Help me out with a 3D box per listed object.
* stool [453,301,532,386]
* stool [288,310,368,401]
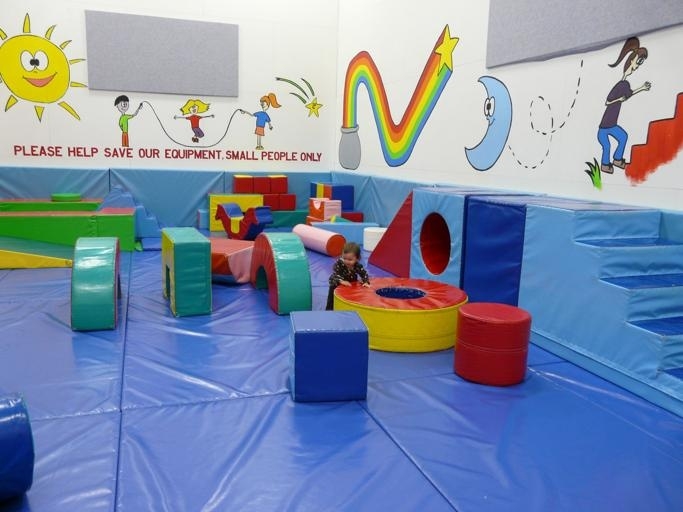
[{"bbox_3d":[1.002,0.538,3.683,0.450,0.492,0.460,-23,32,-39],"label":"stool"},{"bbox_3d":[-0.090,0.585,3.294,0.441,0.497,0.464,0,8,-4],"label":"stool"}]
